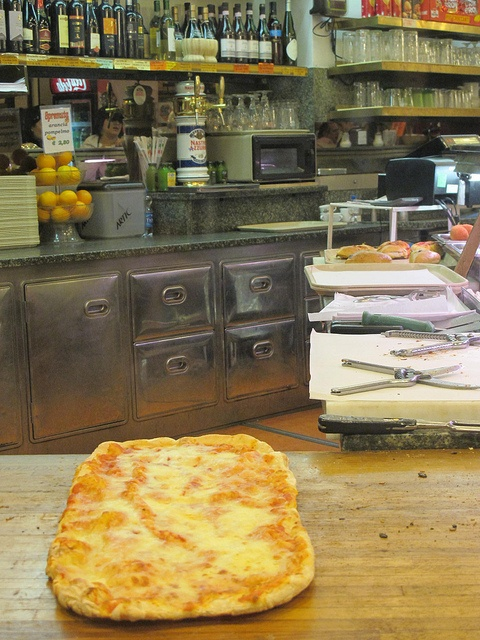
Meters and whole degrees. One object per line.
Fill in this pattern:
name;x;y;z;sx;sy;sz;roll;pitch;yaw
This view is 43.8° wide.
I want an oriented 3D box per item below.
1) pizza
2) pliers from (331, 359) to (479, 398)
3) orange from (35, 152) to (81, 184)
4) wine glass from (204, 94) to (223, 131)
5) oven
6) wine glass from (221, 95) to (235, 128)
pizza;-0.085;0.244;0.830;0.334;0.034;0.557;-2;6;0
pliers;0.301;0.103;1.112;0.257;0.035;0.177;-2;6;8
orange;-0.971;-0.782;3.201;0.212;0.140;0.202;-2;6;-30
wine glass;-0.165;-1.341;3.992;0.131;0.148;0.082;-3;6;1
oven;0.180;-1.123;4.110;0.454;0.328;0.605;16;24;43
wine glass;-0.066;-1.402;4.020;0.082;0.230;0.135;-2;6;12
